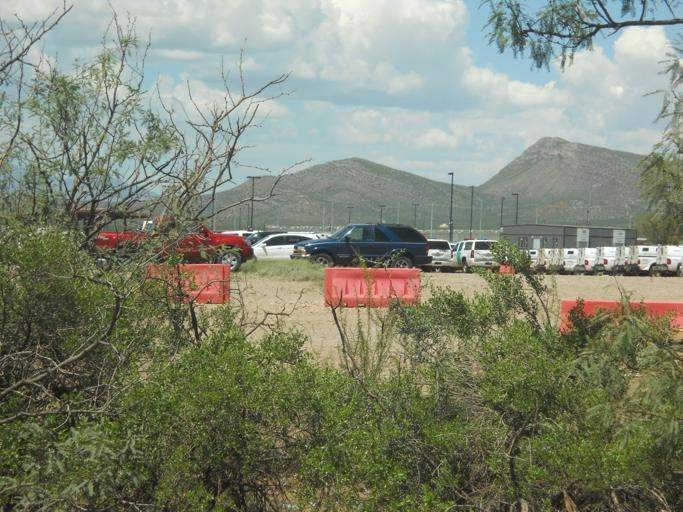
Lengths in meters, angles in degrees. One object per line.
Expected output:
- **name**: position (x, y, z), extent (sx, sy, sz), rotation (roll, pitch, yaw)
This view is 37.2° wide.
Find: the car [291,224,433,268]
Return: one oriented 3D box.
- **car**: position (0.683, -0.639, 27.149), extent (3.059, 1.517, 1.605), rotation (3, -2, -6)
